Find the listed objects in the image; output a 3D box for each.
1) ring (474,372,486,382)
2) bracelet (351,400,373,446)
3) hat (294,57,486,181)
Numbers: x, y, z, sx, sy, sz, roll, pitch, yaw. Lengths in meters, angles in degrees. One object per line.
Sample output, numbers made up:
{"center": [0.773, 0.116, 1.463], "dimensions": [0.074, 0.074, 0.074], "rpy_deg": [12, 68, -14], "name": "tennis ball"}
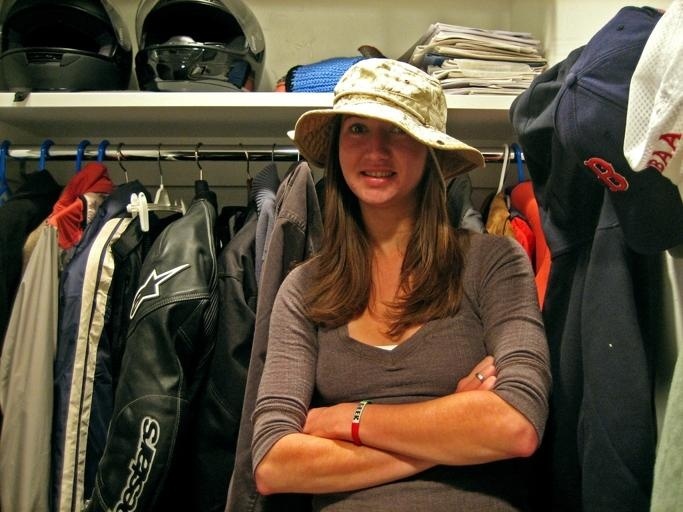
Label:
{"center": [0.294, 0.256, 1.369], "dimensions": [0.016, 0.016, 0.015], "rpy_deg": [1, 16, 0], "name": "ring"}
{"center": [0.038, 0.343, 1.370], "dimensions": [0.015, 0.067, 0.067], "rpy_deg": [-4, 15, 14], "name": "bracelet"}
{"center": [0.097, -0.267, 1.589], "dimensions": [0.350, 0.200, 0.385], "rpy_deg": [11, 9, 32], "name": "hat"}
